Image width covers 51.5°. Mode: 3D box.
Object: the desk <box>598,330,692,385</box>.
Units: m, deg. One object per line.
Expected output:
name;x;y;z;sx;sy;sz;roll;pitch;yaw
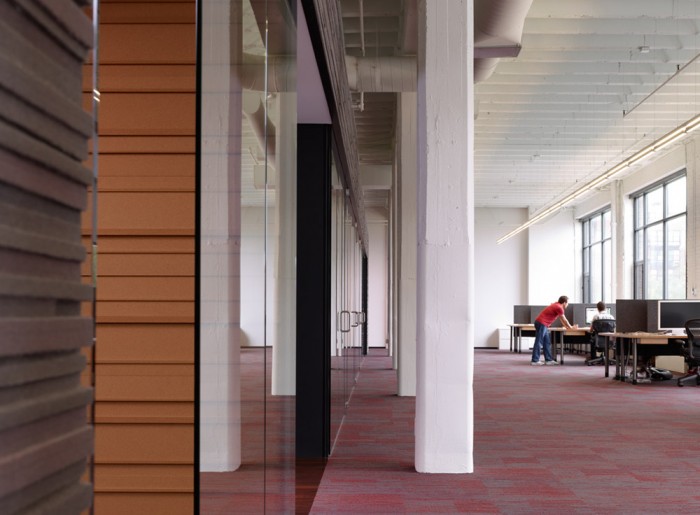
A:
desk;3.890;1.192;9.578;0.947;0.576;0.982;-1;-6;1

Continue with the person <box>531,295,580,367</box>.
person;3.662;1.295;13.233;0.725;1.209;2.164;-2;-7;15

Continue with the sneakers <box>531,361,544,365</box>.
sneakers;3.320;1.845;12.832;0.215;0.098;0.081;-1;1;-3

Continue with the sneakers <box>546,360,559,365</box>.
sneakers;3.583;1.842;12.921;0.256;0.110;0.088;1;-1;-11
